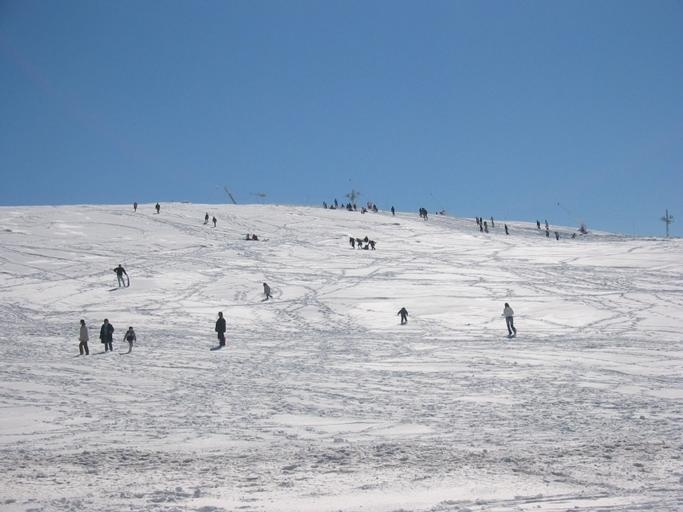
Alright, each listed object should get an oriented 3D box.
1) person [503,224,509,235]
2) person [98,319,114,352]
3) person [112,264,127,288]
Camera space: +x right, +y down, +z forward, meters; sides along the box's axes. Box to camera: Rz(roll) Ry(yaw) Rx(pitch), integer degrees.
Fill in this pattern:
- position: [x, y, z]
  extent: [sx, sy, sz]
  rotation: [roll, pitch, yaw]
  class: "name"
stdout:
- position: [12.829, -2.090, 79.788]
  extent: [0.323, 0.892, 0.343]
  rotation: [5, -24, -30]
  class: "person"
- position: [-9.088, 2.967, 39.490]
  extent: [0.452, 1.154, 1.237]
  rotation: [-3, 9, -14]
  class: "person"
- position: [-11.202, 0.819, 51.743]
  extent: [0.496, 1.042, 2.253]
  rotation: [-2, 9, -12]
  class: "person"
